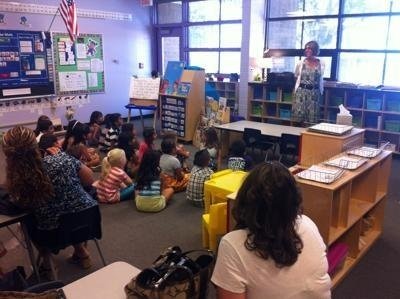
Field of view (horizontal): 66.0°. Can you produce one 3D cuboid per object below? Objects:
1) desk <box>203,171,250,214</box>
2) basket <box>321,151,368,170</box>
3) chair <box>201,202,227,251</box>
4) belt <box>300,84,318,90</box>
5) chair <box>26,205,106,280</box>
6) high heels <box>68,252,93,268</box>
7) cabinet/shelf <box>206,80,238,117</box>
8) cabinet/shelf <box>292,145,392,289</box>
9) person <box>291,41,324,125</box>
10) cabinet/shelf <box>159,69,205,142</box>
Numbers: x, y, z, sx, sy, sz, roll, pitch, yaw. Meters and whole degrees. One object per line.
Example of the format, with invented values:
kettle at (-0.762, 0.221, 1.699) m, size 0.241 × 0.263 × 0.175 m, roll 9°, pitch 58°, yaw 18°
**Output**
desk at (0.280, 0.504, 3.375) m, size 0.323 × 0.401 × 0.413 m, roll -10°, pitch -9°, yaw -15°
basket at (1.304, 0.114, 2.768) m, size 0.237 × 0.058 × 0.190 m, roll -21°, pitch 28°, yaw -39°
chair at (0.165, 0.766, 3.082) m, size 0.295 × 0.462 × 0.315 m, roll 0°, pitch 0°, yaw 3°
belt at (2.091, -1.208, 5.908) m, size 0.342 × 0.117 × 0.070 m, roll 6°, pitch 14°, yaw 15°
chair at (-1.172, 0.607, 2.747) m, size 0.583 × 0.724 × 0.660 m, roll -2°, pitch 5°, yaw -6°
high heels at (-1.156, 1.055, 2.974) m, size 0.236 × 0.101 × 0.094 m, roll 17°, pitch 27°, yaw 31°
cabinet/shelf at (0.535, -1.410, 8.342) m, size 0.241 × 0.848 × 0.814 m, roll -2°, pitch 10°, yaw -30°
cabinet/shelf at (1.161, 0.524, 2.495) m, size 0.309 × 0.767 × 0.990 m, roll 16°, pitch 28°, yaw 41°
person at (2.101, -1.210, 5.973) m, size 0.542 × 1.633 × 0.828 m, roll 7°, pitch 14°, yaw 21°
cabinet/shelf at (-0.460, -1.087, 7.125) m, size 0.975 × 1.541 × 0.967 m, roll 3°, pitch 17°, yaw 9°
